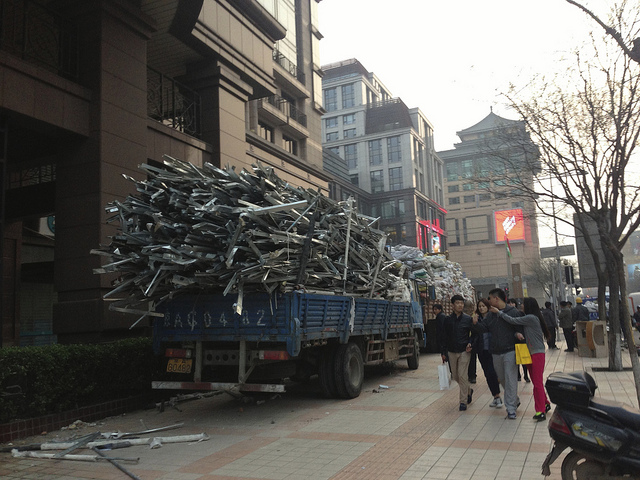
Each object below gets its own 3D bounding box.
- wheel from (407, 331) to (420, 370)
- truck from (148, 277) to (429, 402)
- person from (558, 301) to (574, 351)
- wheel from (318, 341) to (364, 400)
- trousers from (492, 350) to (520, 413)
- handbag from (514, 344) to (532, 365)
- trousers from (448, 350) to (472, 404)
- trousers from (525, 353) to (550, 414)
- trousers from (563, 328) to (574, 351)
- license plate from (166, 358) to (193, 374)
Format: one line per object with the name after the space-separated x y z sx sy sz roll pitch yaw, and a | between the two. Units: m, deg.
2.804 3.358 14.974 0.293 1.069 0.729 -3 -5 17 | wheel
0.238 2.108 11.002 2.779 1.982 6.266 -6 -9 39 | truck
9.339 3.329 18.843 0.478 1.906 1.045 -4 -5 24 | person
0.426 2.762 10.508 0.546 1.237 0.995 -4 -5 30 | wheel
3.223 2.425 8.564 0.392 1.014 0.408 -3 -5 18 | trousers
3.422 1.929 8.335 0.248 0.320 0.184 -3 -5 23 | handbag
2.651 2.586 9.366 0.396 0.925 0.550 -3 -5 13 | trousers
3.651 2.387 8.322 0.270 0.964 0.424 -3 -5 23 | trousers
9.263 3.712 18.455 0.294 0.817 0.321 -4 -5 25 | trousers
-2.608 2.361 9.285 0.539 0.261 0.107 -3 -5 21 | license plate
